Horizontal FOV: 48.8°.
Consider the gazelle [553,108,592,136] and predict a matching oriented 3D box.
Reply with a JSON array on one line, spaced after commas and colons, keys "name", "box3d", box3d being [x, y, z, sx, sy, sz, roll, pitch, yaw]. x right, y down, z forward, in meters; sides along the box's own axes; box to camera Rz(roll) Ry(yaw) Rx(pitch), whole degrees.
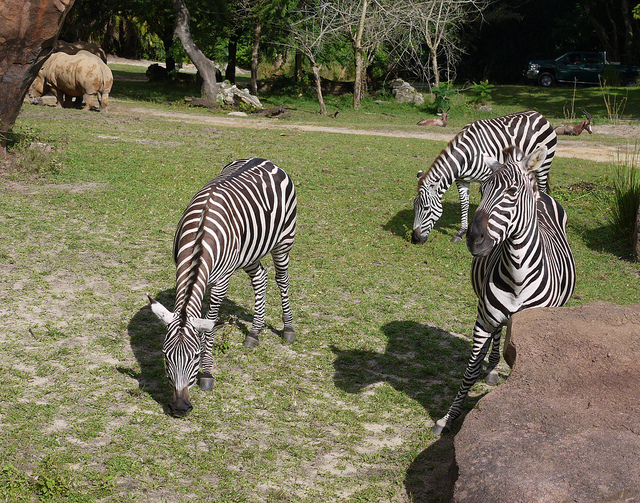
[{"name": "gazelle", "box3d": [7.981, -3.983, 22.078, 1.070, 0.772, 2.143, 9, 15, 20]}]

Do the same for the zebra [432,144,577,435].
[{"name": "zebra", "box3d": [2.269, 0.321, 8.150, 1.125, 3.002, 4.293, 5, 8, 22]}]

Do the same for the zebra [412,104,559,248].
[{"name": "zebra", "box3d": [2.637, -1.291, 11.736, 3.290, 1.851, 0.854, -22, 31, -36]}]

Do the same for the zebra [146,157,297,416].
[{"name": "zebra", "box3d": [-1.104, 0.284, 8.694, 0.930, 2.252, 3.900, 2, 21, 14]}]

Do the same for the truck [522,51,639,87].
[{"name": "truck", "box3d": [13.936, -9.549, 37.304, 2.403, 2.036, 7.039, -3, 16, -26]}]
